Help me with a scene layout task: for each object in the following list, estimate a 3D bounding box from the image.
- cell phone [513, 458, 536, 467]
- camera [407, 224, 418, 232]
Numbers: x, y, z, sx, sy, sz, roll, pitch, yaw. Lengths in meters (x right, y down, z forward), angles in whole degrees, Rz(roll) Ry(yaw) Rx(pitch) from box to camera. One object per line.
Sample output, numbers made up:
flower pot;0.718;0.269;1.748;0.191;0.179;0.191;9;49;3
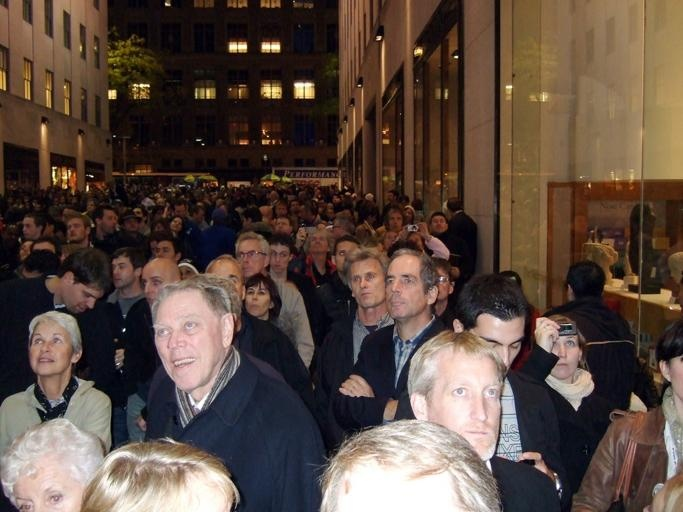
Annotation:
cell phone;1.063;1.173;3.610;0.100;0.071;0.069;-3;-12;-6
camera;1.010;-0.383;8.978;0.185;0.083;0.415;1;5;22
